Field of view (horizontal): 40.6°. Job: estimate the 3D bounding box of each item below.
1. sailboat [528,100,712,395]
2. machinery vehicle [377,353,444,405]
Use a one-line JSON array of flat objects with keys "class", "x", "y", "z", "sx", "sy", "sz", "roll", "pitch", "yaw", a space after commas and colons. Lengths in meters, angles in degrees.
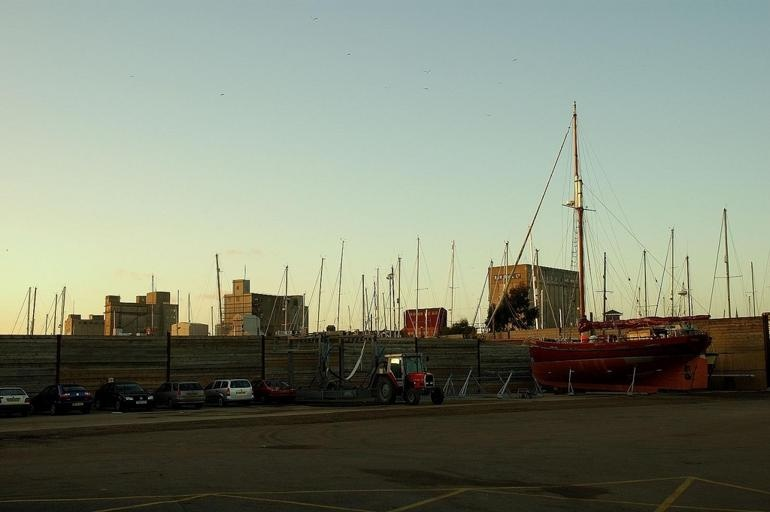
[{"class": "sailboat", "x": 13.371, "y": 0.094, "z": 61.026, "sx": 3.935, "sy": 15.218, "sz": 12.280, "roll": 2, "pitch": -5, "yaw": -42}, {"class": "machinery vehicle", "x": 1.148, "y": 6.112, "z": 52.422, "sx": 3.223, "sy": 2.070, "sz": 2.172, "roll": -6, "pitch": -7, "yaw": 42}]
